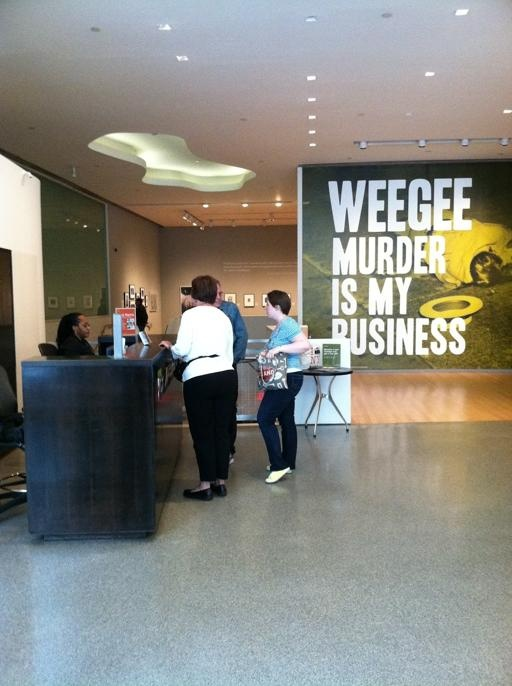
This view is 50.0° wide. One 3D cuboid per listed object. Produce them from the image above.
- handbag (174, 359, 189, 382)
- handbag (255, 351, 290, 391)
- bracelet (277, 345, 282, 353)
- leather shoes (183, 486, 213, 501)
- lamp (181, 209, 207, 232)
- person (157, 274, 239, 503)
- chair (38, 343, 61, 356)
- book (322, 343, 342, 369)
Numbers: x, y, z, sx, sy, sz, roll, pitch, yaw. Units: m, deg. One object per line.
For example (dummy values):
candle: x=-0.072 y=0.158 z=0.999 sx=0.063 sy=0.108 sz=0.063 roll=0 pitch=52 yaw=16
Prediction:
handbag: x=-0.508 y=0.192 z=3.874 sx=0.133 sy=0.180 sz=0.067 roll=4 pitch=1 yaw=39
handbag: x=0.099 y=0.212 z=4.128 sx=0.280 sy=0.281 sz=0.154 roll=2 pitch=4 yaw=33
bracelet: x=0.171 y=0.048 z=4.054 sx=0.040 sy=0.040 sz=0.038 roll=-4 pitch=7 yaw=-37
leather shoes: x=-0.410 y=1.074 z=3.936 sx=0.215 sy=0.089 sz=0.083 roll=4 pitch=2 yaw=25
lamp: x=-1.875 y=-3.655 z=16.391 sx=0.210 sy=0.272 sz=1.196 roll=31 pitch=8 yaw=12
person: x=-0.356 y=0.326 z=3.800 sx=0.445 sy=1.575 sz=0.459 roll=-1 pitch=3 yaw=-3
chair: x=-2.216 y=0.073 z=5.892 sx=0.119 sy=0.157 sz=0.123 roll=8 pitch=10 yaw=30
book: x=0.799 y=0.132 z=5.830 sx=0.198 sy=0.256 sz=0.162 roll=0 pitch=3 yaw=4
